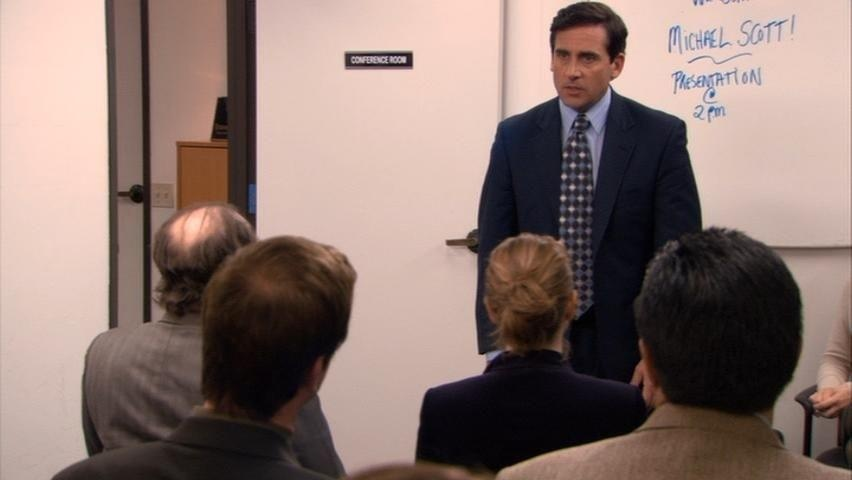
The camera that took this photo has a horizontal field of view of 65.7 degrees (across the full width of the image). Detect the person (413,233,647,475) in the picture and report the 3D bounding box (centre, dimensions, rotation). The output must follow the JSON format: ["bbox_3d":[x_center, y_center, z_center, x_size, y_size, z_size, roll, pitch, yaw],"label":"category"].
[{"bbox_3d":[0.446,0.429,2.596,1.177,0.960,0.598,-2,13,3],"label":"person"}]
